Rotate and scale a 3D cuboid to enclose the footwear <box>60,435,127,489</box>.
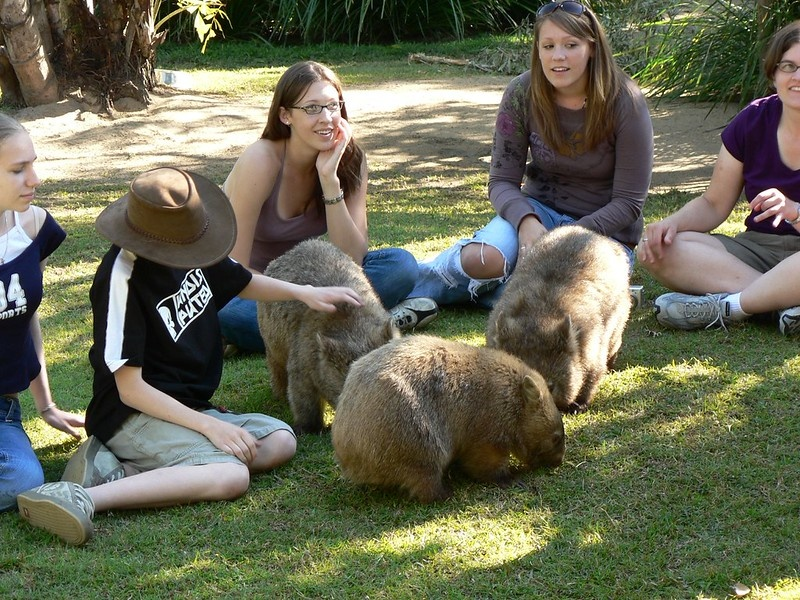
[{"bbox_3d":[-1.432,0.759,3.858,0.162,0.141,0.379,14,10,3],"label":"footwear"}]

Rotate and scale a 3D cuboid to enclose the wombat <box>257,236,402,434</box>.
[{"bbox_3d":[-0.449,0.104,4.833,0.603,0.916,1.219,-13,29,-23],"label":"wombat"}]

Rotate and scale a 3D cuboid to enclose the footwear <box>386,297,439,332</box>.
[{"bbox_3d":[0.085,0.088,5.482,0.432,0.145,0.191,-12,41,5],"label":"footwear"}]

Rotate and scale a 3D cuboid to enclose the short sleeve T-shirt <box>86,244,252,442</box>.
[{"bbox_3d":[-1.185,0.136,4.134,0.536,0.957,1.020,-1,11,29],"label":"short sleeve T-shirt"}]

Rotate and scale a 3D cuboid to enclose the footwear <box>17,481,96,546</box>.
[{"bbox_3d":[-1.486,0.905,3.611,0.429,0.186,0.208,10,27,30],"label":"footwear"}]

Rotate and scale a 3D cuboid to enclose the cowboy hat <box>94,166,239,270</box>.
[{"bbox_3d":[-1.117,-0.442,3.814,0.658,0.266,0.680,-7,43,-13],"label":"cowboy hat"}]

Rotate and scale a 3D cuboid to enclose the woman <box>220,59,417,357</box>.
[{"bbox_3d":[-0.726,-0.655,5.167,1.526,1.686,1.052,-17,32,-38],"label":"woman"}]

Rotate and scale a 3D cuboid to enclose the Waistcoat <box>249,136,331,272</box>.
[{"bbox_3d":[-0.683,-0.601,4.995,0.394,0.737,0.555,42,46,22],"label":"Waistcoat"}]

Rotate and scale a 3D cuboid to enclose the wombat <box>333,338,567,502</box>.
[{"bbox_3d":[0.207,0.507,4.085,1.090,0.633,0.659,-7,16,-15],"label":"wombat"}]

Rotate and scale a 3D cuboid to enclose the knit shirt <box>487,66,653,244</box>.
[{"bbox_3d":[1.188,-0.954,5.534,1.172,1.188,0.890,18,35,36],"label":"knit shirt"}]

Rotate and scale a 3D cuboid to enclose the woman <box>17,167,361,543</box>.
[{"bbox_3d":[-0.997,0.310,4.139,0.885,1.283,1.562,9,19,22],"label":"woman"}]

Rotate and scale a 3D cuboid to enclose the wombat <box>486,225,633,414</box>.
[{"bbox_3d":[0.899,0.137,4.967,0.804,0.804,1.469,11,34,21],"label":"wombat"}]
